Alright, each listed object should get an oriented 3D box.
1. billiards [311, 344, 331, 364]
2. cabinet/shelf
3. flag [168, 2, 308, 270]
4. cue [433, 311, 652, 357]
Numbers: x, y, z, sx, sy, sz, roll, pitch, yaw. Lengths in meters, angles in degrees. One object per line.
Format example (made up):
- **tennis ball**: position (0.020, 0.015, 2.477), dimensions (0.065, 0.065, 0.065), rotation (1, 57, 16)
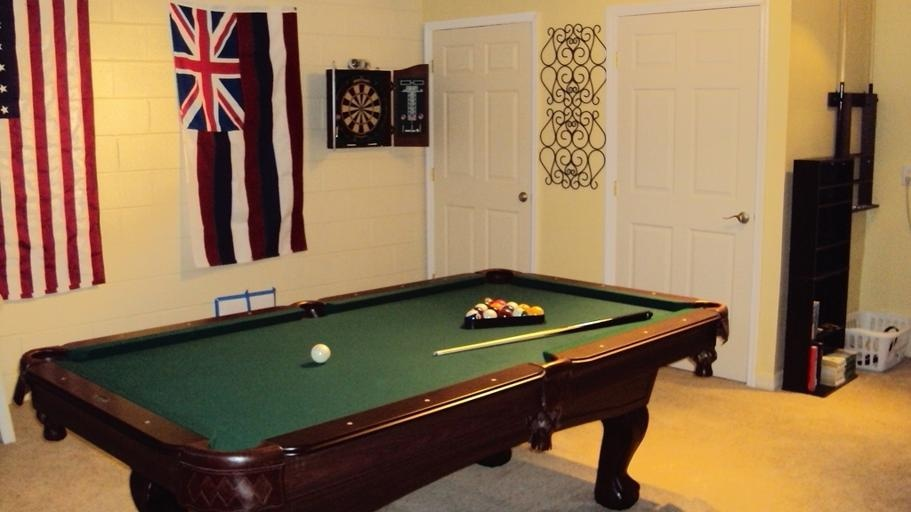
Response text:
- **billiards**: position (-0.736, 0.537, 3.720), dimensions (0.107, 0.100, 0.057), rotation (22, 0, 1)
- **cabinet/shelf**: position (3.102, 0.138, 5.752), dimensions (0.536, 1.922, 0.884), rotation (8, 16, 30)
- **flag**: position (-1.921, -1.090, 6.097), dimensions (1.105, 2.274, 0.538), rotation (-5, 15, -20)
- **cue**: position (0.512, 0.471, 3.957), dimensions (1.274, 0.080, 0.079), rotation (-7, 31, -13)
